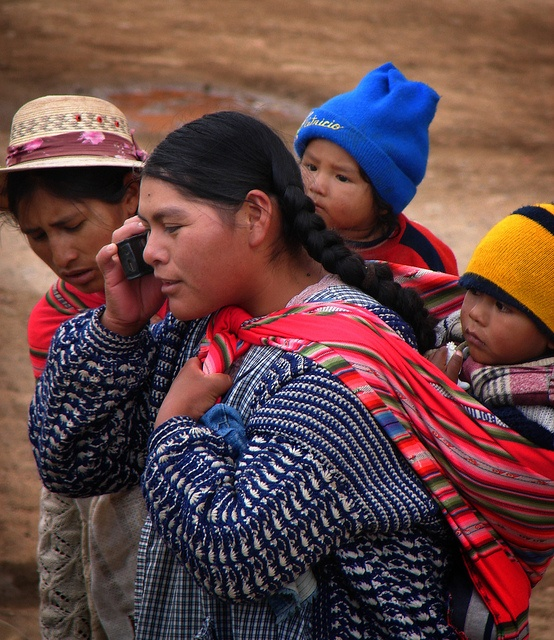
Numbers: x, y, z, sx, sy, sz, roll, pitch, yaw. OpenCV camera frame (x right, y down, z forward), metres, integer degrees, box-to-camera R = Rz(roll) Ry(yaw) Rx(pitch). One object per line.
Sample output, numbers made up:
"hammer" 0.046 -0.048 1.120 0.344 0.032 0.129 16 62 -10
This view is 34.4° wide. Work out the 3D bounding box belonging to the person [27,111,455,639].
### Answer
"person" -0.081 0.221 2.619 0.974 1.487 1.305 -8 32 -29
